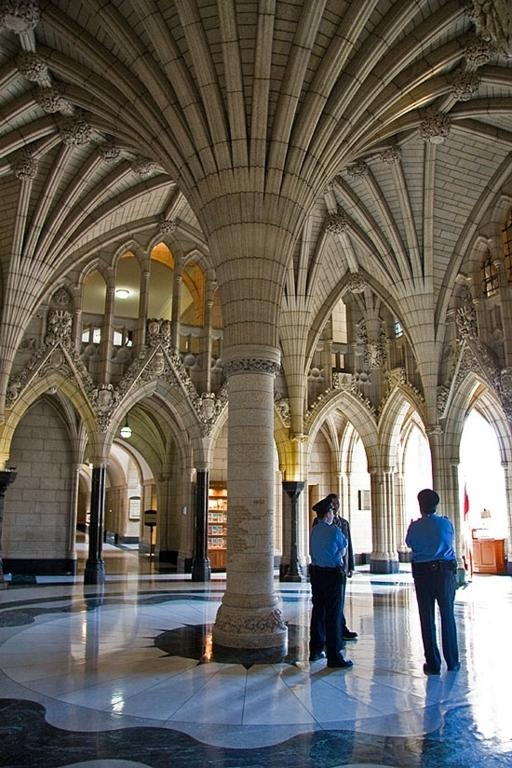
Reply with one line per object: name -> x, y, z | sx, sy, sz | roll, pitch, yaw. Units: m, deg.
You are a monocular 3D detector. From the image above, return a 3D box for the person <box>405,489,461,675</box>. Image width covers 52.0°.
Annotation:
person -> 1.782, 1.947, 5.336 | 0.483, 1.761, 0.856 | -4, -14, 19

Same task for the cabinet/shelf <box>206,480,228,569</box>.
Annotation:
cabinet/shelf -> -1.332, 4.813, 17.705 | 0.587, 2.949, 0.934 | 2, -13, -5

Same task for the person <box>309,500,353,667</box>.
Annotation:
person -> 0.777, 2.091, 5.649 | 0.424, 1.712, 0.829 | -1, -13, 5

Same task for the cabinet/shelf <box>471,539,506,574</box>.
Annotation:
cabinet/shelf -> 8.114, 5.983, 18.358 | 1.050, 1.150, 0.530 | -6, -14, 24
